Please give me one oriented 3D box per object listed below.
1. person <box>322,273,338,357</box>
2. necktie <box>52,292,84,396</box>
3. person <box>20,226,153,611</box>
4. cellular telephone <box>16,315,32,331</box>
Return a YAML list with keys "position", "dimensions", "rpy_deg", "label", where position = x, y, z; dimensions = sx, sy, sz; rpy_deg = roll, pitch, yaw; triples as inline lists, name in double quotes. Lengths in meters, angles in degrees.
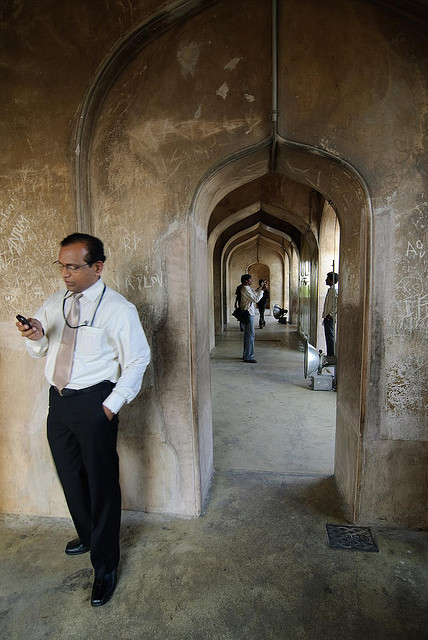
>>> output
- position: [1.583, -0.058, 6.956]
  dimensions: [0.177, 1.178, 0.654]
  rpy_deg: [0, 7, 13]
  label: "person"
- position: [-0.717, 0.114, 2.490]
  dimensions: [0.105, 0.487, 0.134]
  rpy_deg: [3, 7, 31]
  label: "necktie"
- position: [-0.608, 0.446, 2.571]
  dimensions: [0.569, 1.729, 0.382]
  rpy_deg: [5, 9, 44]
  label: "person"
- position: [-0.900, 0.016, 2.374]
  dimensions: [0.057, 0.082, 0.110]
  rpy_deg: [-1, 7, 5]
  label: "cellular telephone"
